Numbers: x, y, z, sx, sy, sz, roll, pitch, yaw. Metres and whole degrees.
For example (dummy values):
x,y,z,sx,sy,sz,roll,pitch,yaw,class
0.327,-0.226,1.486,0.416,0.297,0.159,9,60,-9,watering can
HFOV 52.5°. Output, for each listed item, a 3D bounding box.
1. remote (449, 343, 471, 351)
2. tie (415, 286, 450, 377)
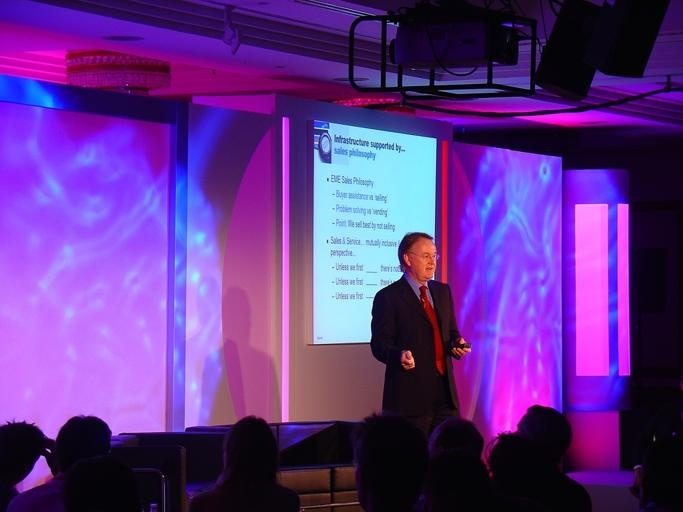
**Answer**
x,y,z,sx,sy,sz,roll,pitch,yaw,class
0.726,0.544,4.204,0.095,0.024,0.050,-5,10,31,remote
0.589,0.471,4.344,0.159,0.490,0.175,2,8,8,tie
